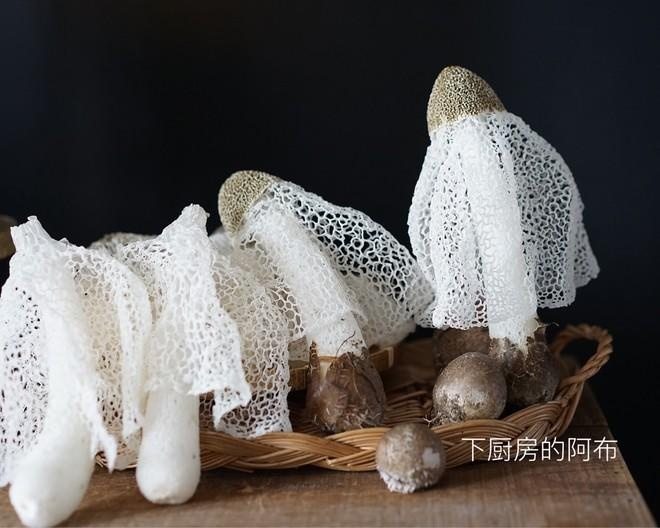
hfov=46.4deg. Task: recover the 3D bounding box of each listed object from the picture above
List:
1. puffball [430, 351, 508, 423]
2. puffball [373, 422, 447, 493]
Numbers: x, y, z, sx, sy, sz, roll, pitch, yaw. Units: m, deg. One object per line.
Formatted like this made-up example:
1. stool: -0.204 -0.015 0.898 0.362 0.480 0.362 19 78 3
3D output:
1. puffball: 0.159 0.143 0.927 0.076 0.099 0.075 5 -4 4
2. puffball: 0.083 0.209 0.812 0.069 0.067 0.041 0 -2 9
